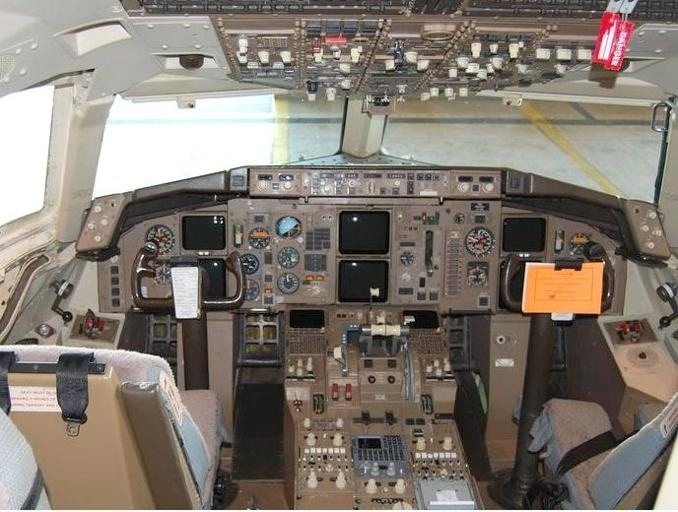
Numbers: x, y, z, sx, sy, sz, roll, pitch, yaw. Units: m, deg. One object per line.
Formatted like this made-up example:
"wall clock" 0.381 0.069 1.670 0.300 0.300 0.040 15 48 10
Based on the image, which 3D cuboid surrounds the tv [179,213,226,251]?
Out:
"tv" -1.215 -0.200 4.781 0.375 0.310 0.040 -1 12 -10
